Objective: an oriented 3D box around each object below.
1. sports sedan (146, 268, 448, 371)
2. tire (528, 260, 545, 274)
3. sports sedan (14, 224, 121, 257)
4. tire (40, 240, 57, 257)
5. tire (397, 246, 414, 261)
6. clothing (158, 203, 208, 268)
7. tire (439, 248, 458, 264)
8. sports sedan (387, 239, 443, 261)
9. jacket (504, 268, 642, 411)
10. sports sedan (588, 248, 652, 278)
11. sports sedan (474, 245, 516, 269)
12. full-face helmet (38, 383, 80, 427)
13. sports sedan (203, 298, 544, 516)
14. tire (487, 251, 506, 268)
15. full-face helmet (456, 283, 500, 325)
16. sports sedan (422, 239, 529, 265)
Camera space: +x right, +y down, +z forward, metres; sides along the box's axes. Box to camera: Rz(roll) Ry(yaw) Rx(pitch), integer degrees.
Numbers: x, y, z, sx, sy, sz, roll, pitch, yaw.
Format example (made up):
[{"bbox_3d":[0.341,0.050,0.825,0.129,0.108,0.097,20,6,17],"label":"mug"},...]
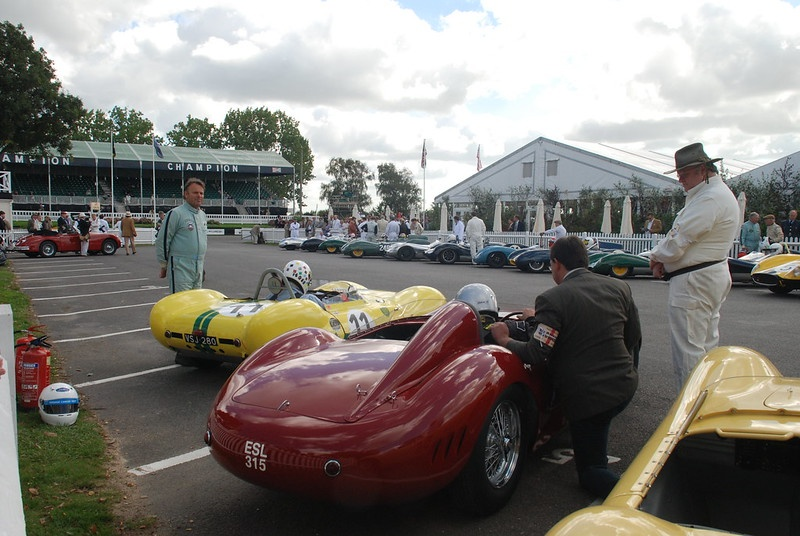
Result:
[{"bbox_3d":[-1.089,0.454,6.382,1.657,0.941,2.679,5,11,45],"label":"sports sedan"},{"bbox_3d":[4.418,-0.073,17.081,0.373,0.404,0.140,0,10,8],"label":"tire"},{"bbox_3d":[-13.519,-0.983,21.719,3.019,1.013,1.608,0,-4,-33],"label":"sports sedan"},{"bbox_3d":[-14.128,-0.807,21.285,0.582,0.655,0.233,-9,7,-38],"label":"tire"},{"bbox_3d":[0.257,-0.650,22.171,0.585,0.632,0.236,0,7,4],"label":"tire"},{"bbox_3d":[-2.884,-0.448,7.199,0.455,0.898,0.869,1,0,28],"label":"clothing"},{"bbox_3d":[1.890,-0.506,20.602,0.413,0.417,0.157,-44,8,-2],"label":"tire"},{"bbox_3d":[0.368,-0.739,22.289,1.665,0.517,1.000,-3,7,20],"label":"sports sedan"},{"bbox_3d":[1.503,0.554,4.375,1.253,1.188,0.728,-16,10,-27],"label":"jacket"},{"bbox_3d":[5.712,-0.116,13.745,1.566,0.482,0.943,-1,7,-15],"label":"sports sedan"},{"bbox_3d":[3.339,-0.420,18.693,1.265,0.444,0.725,-4,4,-4],"label":"sports sedan"},{"bbox_3d":[-3.308,1.277,5.131,0.407,0.339,0.319,1,-5,35],"label":"full-face helmet"},{"bbox_3d":[0.158,1.022,3.891,1.274,0.847,2.420,4,6,40],"label":"sports sedan"},{"bbox_3d":[3.405,-0.342,18.667,0.498,0.537,0.198,-1,12,-4],"label":"tire"},{"bbox_3d":[0.787,0.348,5.189,0.356,0.452,0.465,2,4,-2],"label":"full-face helmet"},{"bbox_3d":[2.373,-0.617,20.850,2.595,0.760,1.507,-2,5,-4],"label":"sports sedan"}]
